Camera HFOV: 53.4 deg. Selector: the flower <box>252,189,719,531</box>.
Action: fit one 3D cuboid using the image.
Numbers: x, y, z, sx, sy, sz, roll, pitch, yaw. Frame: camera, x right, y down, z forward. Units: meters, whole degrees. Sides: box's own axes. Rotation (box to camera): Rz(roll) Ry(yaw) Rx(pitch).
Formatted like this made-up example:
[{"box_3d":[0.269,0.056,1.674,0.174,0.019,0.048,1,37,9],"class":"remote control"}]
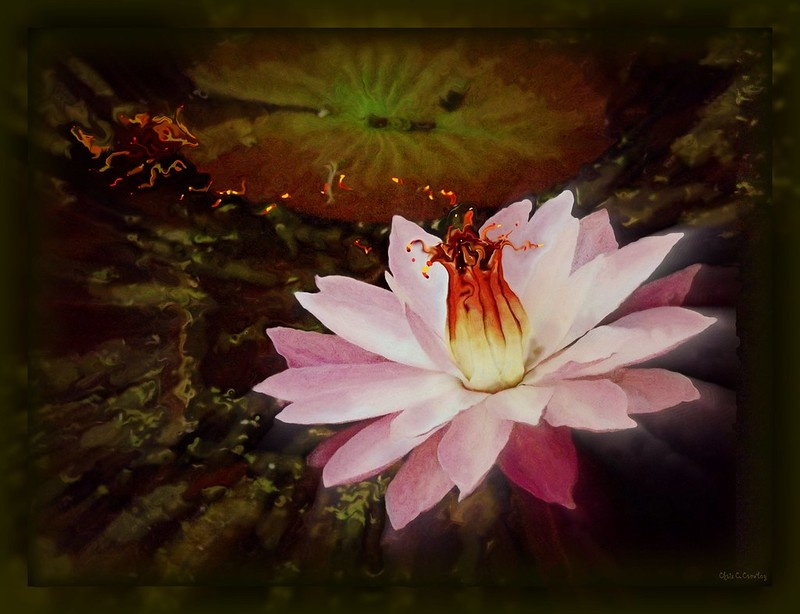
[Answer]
[{"box_3d":[0.128,0.006,1.311,0.654,0.260,0.640,-12,14,-7],"class":"flower"}]
